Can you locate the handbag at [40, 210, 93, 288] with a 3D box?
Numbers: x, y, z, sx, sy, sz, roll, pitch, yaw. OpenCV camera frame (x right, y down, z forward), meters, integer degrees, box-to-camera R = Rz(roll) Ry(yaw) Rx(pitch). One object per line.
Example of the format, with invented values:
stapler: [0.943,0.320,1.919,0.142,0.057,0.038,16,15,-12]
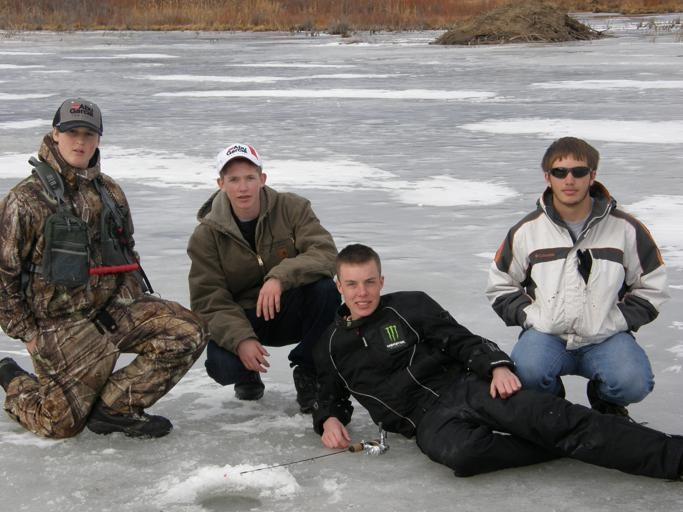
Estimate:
handbag: [-1.473,-0.030,4.771,0.255,0.436,0.132,-3,17,-20]

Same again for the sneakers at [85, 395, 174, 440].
sneakers: [-1.170,0.906,4.878,0.571,0.206,0.174,1,3,-7]

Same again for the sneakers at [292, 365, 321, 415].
sneakers: [-0.212,0.781,5.259,0.093,0.217,0.154,-2,-18,1]

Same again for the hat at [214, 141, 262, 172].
hat: [-0.605,-0.582,5.321,0.251,0.177,0.274,1,13,-3]

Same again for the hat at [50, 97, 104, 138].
hat: [-1.416,-0.756,4.792,0.219,0.140,0.278,5,4,-25]

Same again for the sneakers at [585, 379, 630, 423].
sneakers: [1.430,0.770,4.731,0.264,0.091,0.122,49,15,34]
